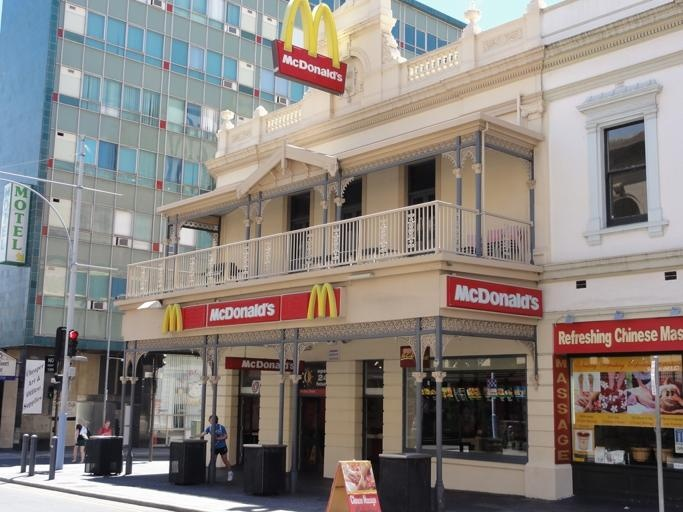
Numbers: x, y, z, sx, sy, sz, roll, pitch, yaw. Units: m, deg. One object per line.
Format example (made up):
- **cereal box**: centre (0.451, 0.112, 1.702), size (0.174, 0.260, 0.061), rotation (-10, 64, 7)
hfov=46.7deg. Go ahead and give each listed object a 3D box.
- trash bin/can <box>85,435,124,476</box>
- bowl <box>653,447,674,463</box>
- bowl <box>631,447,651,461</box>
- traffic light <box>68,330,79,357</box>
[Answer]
- **trash bin/can**: centre (-7.471, 6.271, 25.069), size (1.093, 1.169, 1.139), rotation (2, -4, -5)
- **bowl**: centre (7.646, 4.707, 18.939), size (0.451, 0.389, 0.478), rotation (0, -13, 0)
- **bowl**: centre (7.268, 4.853, 19.196), size (0.342, 0.273, 0.363), rotation (1, -20, 0)
- **traffic light**: centre (-9.028, 2.925, 26.667), size (0.275, 0.909, 0.935), rotation (4, -16, -14)
